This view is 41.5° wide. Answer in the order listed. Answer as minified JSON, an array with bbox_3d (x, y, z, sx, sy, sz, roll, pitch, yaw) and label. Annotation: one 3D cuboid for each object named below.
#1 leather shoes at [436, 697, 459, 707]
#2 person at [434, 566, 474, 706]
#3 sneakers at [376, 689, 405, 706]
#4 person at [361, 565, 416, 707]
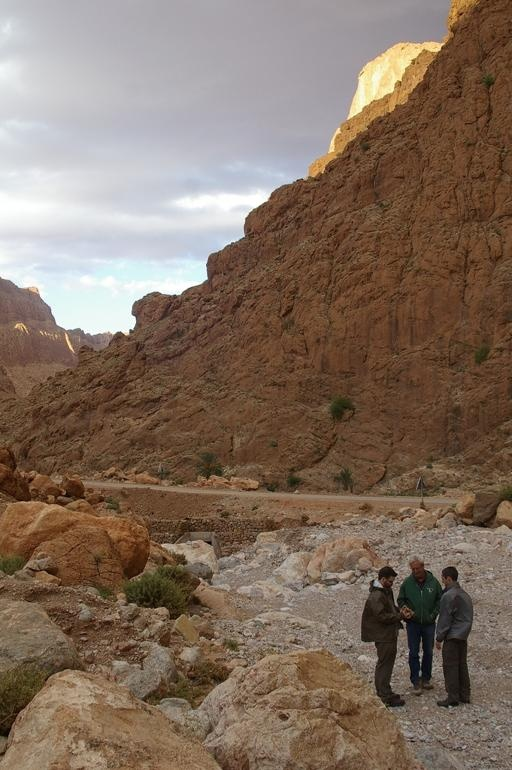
[{"bbox_3d":[2.089,3.460,7.354,0.235,0.088,0.115,0,2,32],"label":"leather shoes"},{"bbox_3d":[2.245,2.828,7.614,0.382,1.352,0.736,-1,2,15],"label":"person"},{"bbox_3d":[1.552,3.543,7.626,0.297,0.154,0.271,-1,2,-11],"label":"sneakers"},{"bbox_3d":[1.492,2.898,7.760,0.559,1.517,0.759,-1,2,12],"label":"person"}]
